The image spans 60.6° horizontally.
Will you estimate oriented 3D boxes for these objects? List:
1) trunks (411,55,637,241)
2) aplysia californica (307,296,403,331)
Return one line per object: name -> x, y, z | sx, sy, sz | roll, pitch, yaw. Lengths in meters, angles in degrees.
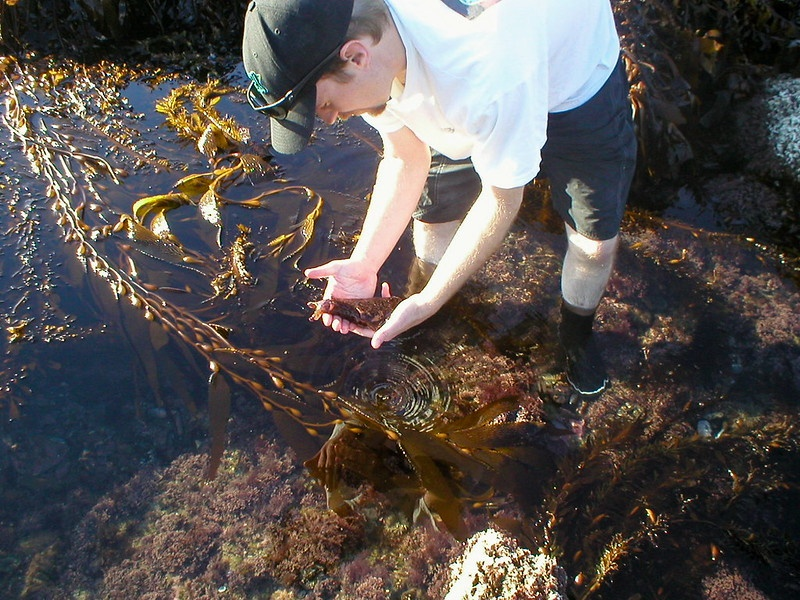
trunks -> 0.918, -0.963, 4.099 | 0.573, 1.166, 1.197 | -2, 10, -33
aplysia californica -> -0.228, 0.050, 3.798 | 0.308, 0.121, 0.234 | -10, 24, -3
